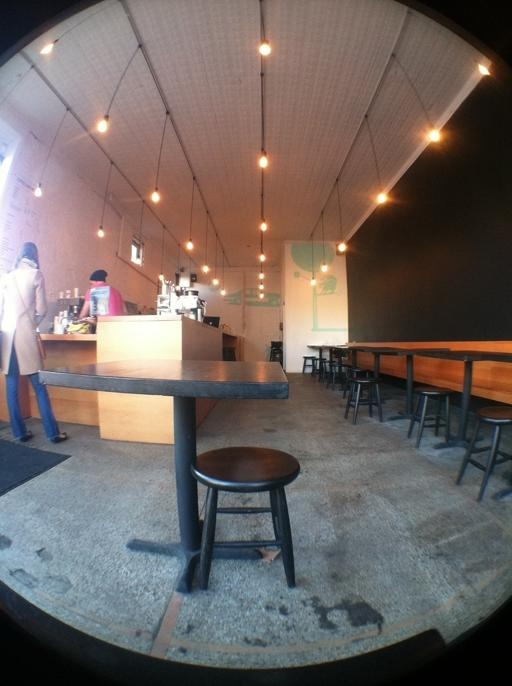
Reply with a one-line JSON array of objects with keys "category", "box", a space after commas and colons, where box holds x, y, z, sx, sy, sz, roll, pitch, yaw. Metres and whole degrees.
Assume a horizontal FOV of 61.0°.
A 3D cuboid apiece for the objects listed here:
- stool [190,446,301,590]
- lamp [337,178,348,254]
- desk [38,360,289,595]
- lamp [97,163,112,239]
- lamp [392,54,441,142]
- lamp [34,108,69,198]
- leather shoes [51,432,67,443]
[{"category": "stool", "box": [-0.020, 0.581, 1.700, 0.472, 0.513, 0.484, 1, -2, -2]}, {"category": "lamp", "box": [1.617, -2.393, 8.114, 0.143, 0.143, 1.225, -4, -22, 15]}, {"category": "desk", "box": [-0.248, 0.434, 1.854, 0.879, 0.834, 0.882, 0, 2, 10]}, {"category": "lamp", "box": [-2.426, -2.191, 6.950, 0.304, 1.017, 0.837, -4, 13, -19]}, {"category": "lamp", "box": [1.741, -2.666, 4.681, 0.181, 0.180, 1.206, 48, 19, 16]}, {"category": "lamp", "box": [-2.516, -2.256, 5.345, 0.453, 0.945, 0.540, -5, 13, -22]}, {"category": "leather shoes", "box": [-1.450, 0.695, 3.208, 0.043, 0.053, 0.129, 2, -1, 6]}]
